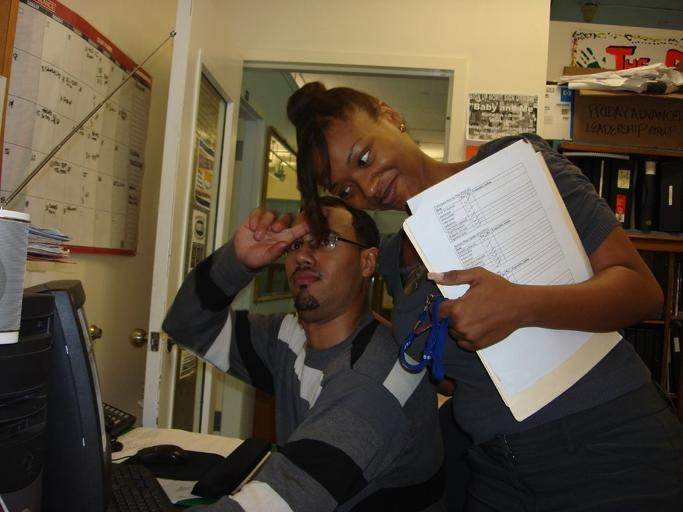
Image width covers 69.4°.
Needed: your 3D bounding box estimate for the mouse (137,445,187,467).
[{"bbox_3d":[-0.524,0.571,1.409,0.101,0.033,0.061,2,0,-5],"label":"mouse"}]
